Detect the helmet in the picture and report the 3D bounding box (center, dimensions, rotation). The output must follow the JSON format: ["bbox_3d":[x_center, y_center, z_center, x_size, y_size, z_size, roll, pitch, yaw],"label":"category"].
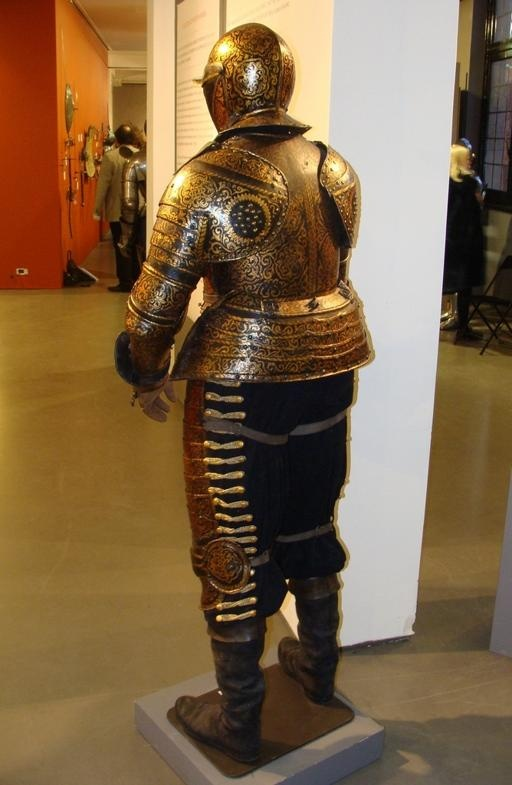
[{"bbox_3d":[-0.019,-0.605,1.253,0.183,0.201,0.230,-18,39,-32],"label":"helmet"}]

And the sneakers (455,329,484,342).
[{"bbox_3d":[2.455,-0.665,7.422,0.237,0.080,0.160,-8,-8,-17],"label":"sneakers"}]

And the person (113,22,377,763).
[{"bbox_3d":[-0.005,0.078,1.323,0.530,1.550,0.284,-4,14,-27],"label":"person"}]
